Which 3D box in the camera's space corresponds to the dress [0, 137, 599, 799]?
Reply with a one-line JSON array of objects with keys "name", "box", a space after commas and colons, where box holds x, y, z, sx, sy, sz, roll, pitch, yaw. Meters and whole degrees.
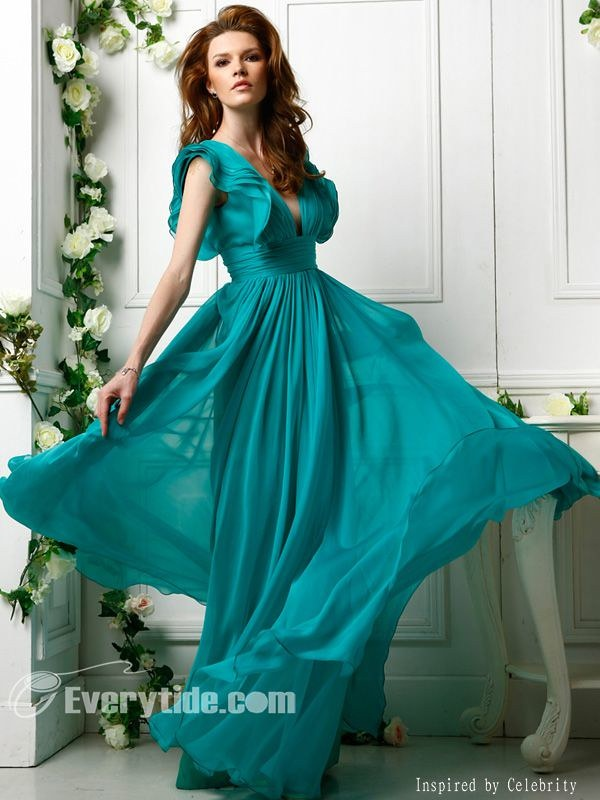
[{"name": "dress", "box": [-0.022, 0.141, 1.765, 1.207, 1.402, 0.522, -2, -3, 0]}]
